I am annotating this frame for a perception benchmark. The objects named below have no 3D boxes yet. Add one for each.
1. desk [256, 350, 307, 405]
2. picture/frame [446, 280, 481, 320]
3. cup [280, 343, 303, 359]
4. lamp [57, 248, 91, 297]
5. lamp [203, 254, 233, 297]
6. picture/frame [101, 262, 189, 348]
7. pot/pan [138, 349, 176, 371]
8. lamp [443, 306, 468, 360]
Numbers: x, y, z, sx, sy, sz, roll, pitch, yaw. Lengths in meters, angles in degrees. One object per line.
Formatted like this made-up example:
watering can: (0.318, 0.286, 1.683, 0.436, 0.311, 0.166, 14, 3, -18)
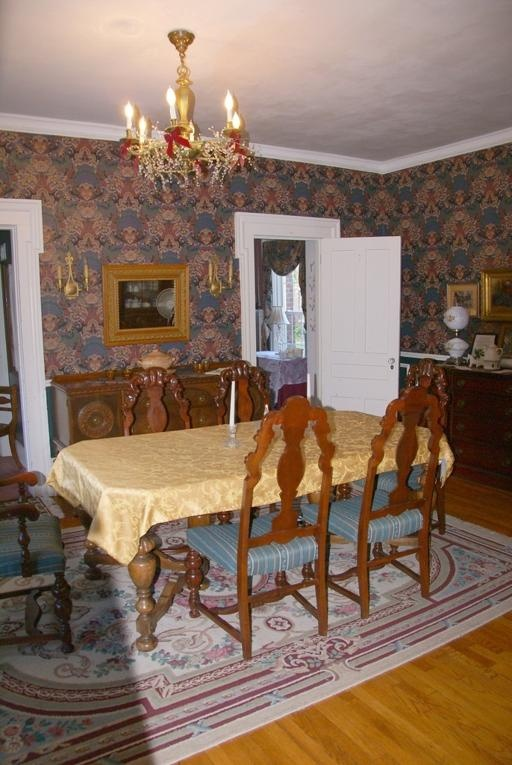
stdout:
desk: (0.576, -0.137, 8.248, 0.450, 0.491, 1.030, 13, 12, 31)
picture/frame: (2.123, -0.830, 5.761, 0.030, 0.392, 0.399, -5, 12, -29)
cup: (0.514, -0.431, 8.072, 0.292, 0.104, 0.214, 0, 5, 18)
lamp: (-1.573, -0.924, 4.929, 0.292, 0.398, 0.068, -3, 5, -35)
lamp: (-0.366, -1.064, 5.724, 0.281, 0.367, 0.124, -5, 1, -38)
picture/frame: (-1.061, -0.732, 5.292, 0.819, 0.722, 0.066, -6, 10, -32)
pot/pan: (-0.912, -0.208, 5.218, 0.355, 0.174, 0.302, -3, 11, -19)
lamp: (2.044, -0.493, 5.775, 0.234, 0.553, 0.507, 1, 4, 20)
